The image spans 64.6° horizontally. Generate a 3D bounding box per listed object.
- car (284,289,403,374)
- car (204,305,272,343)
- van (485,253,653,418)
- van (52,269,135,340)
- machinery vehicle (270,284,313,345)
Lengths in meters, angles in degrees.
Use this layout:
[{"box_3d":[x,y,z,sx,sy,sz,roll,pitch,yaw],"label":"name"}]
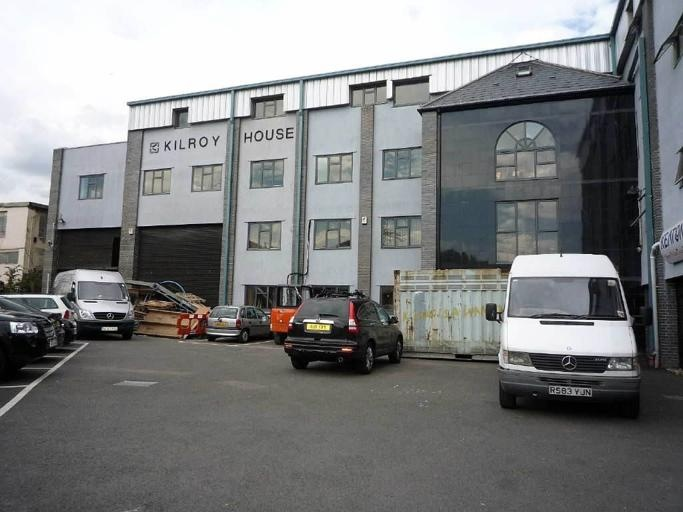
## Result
[{"box_3d":[0.351,2.020,14.699,1.559,1.350,3.207,-3,-5,22],"label":"car"},{"box_3d":[-4.416,2.804,23.462,1.420,1.165,2.364,-1,-1,19],"label":"car"},{"box_3d":[4.091,1.410,9.974,2.239,2.808,1.704,1,-1,13],"label":"van"},{"box_3d":[-9.568,1.749,21.524,1.792,2.328,4.322,3,-9,-34],"label":"van"},{"box_3d":[-2.091,2.309,22.976,1.619,2.365,2.455,-1,-2,26],"label":"machinery vehicle"}]
